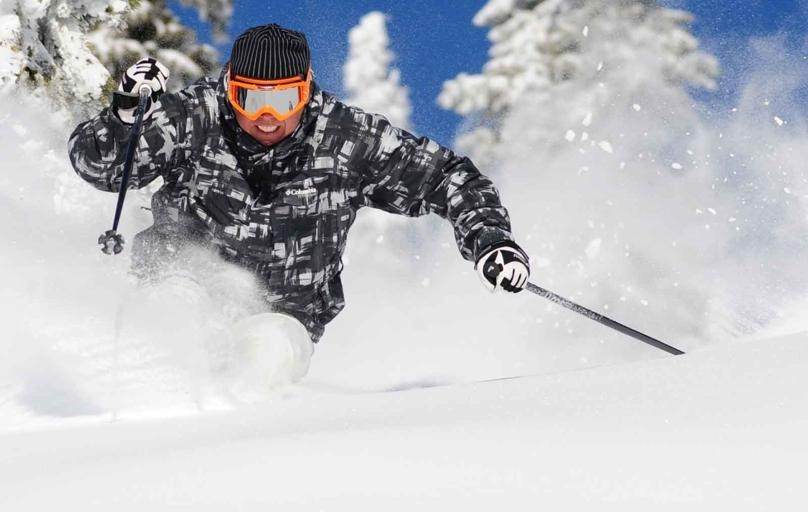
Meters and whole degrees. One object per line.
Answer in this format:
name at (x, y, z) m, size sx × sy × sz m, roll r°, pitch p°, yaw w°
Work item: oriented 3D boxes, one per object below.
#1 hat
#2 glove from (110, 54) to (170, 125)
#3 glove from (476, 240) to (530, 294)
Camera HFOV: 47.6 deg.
hat at (-0.840, -1.282, 5.785) m, size 0.486 × 0.519 × 0.357 m, roll 1°, pitch -76°, yaw -9°
glove at (-1.597, -0.990, 5.629) m, size 0.301 × 0.392 × 0.403 m, roll 16°, pitch -65°, yaw 36°
glove at (0.604, 0.078, 5.827) m, size 0.259 × 0.321 × 0.333 m, roll 40°, pitch -19°, yaw -25°
